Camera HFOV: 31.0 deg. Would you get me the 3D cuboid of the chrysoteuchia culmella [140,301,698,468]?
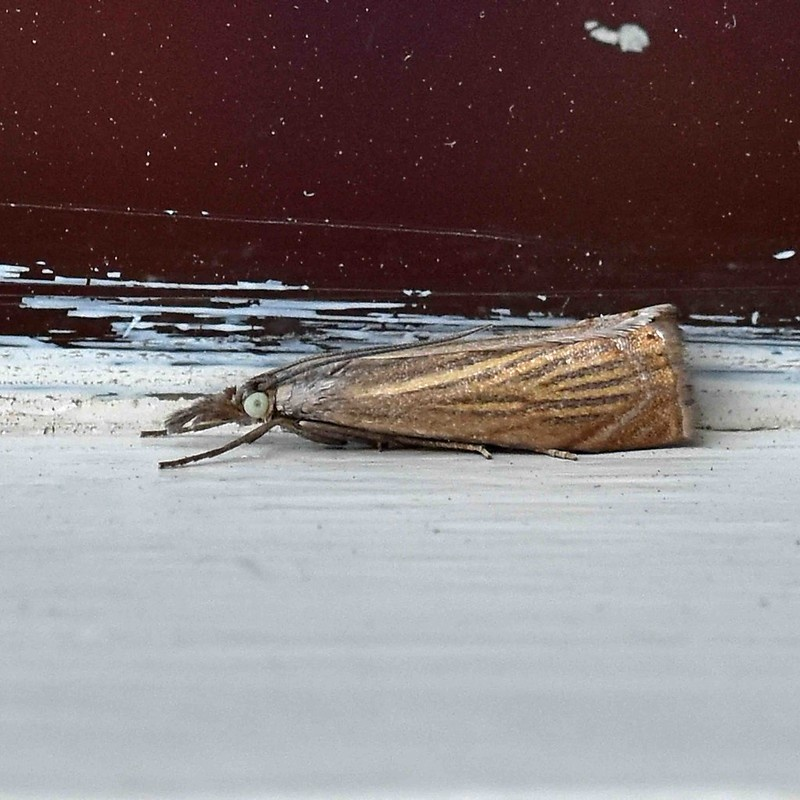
[{"bbox_3d":[0.100,-0.044,3.230,1.138,0.329,0.298,-1,4,-3],"label":"chrysoteuchia culmella"}]
